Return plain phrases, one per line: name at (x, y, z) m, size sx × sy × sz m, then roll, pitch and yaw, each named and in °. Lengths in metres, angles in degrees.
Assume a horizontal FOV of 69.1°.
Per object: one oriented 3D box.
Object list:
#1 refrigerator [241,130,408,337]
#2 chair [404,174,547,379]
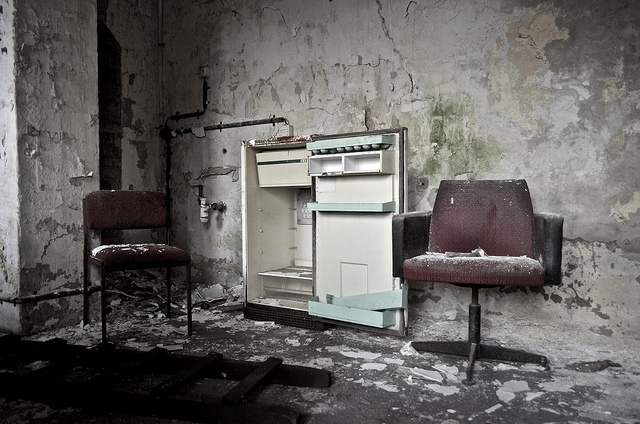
refrigerator at (0.046, 0.214, 4.383) m, size 2.015 × 1.910 × 1.050 m, roll 2°, pitch 2°, yaw 25°
chair at (1.241, 0.443, 3.687) m, size 1.123 × 1.481 × 1.179 m, roll 0°, pitch 1°, yaw -1°
